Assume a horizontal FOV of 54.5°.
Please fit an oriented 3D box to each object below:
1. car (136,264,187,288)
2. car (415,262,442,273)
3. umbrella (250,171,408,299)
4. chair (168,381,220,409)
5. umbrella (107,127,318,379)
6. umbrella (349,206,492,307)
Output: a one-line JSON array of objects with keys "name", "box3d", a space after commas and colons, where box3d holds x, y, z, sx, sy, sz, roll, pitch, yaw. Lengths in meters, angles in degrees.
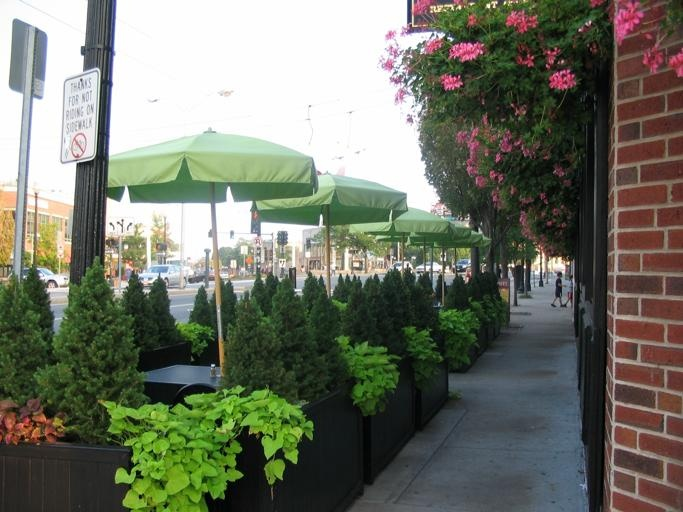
[{"name": "car", "box3d": [-9.735, 1.171, 36.480, 1.264, 1.190, 3.309, -3, -10, 9]}, {"name": "car", "box3d": [7.275, 1.118, 55.267, 0.955, 0.933, 2.529, -3, -10, 22]}, {"name": "umbrella", "box3d": [-0.104, -0.705, 9.938, 1.656, 1.894, 1.938, 4, -3, -12]}, {"name": "chair", "box3d": [-1.287, 1.186, 5.645, 0.550, 0.214, 0.228, -5, -3, 42]}, {"name": "umbrella", "box3d": [-1.369, 0.049, 7.179, 2.109, 2.873, 2.252, -2, 4, -13]}, {"name": "umbrella", "box3d": [2.614, -0.006, 22.535, 5.255, 3.833, 4.830, 4, -4, -44]}]
